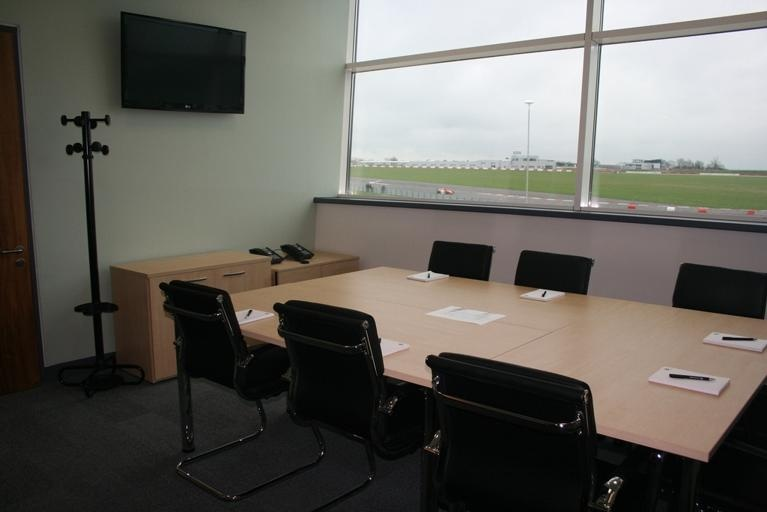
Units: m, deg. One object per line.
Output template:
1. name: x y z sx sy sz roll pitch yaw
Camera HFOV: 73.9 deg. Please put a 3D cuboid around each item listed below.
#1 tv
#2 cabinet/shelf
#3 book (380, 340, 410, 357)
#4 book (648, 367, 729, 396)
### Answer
1. tv: -2.111 -1.992 5.200 1.255 0.852 0.127 -5 14 -39
2. cabinet/shelf: -1.304 0.489 3.981 0.388 0.472 1.236 8 13 37
3. book: 0.068 0.549 3.096 0.171 0.024 0.263 1 14 -2
4. book: 1.674 0.671 2.783 0.392 0.038 0.262 8 16 26
